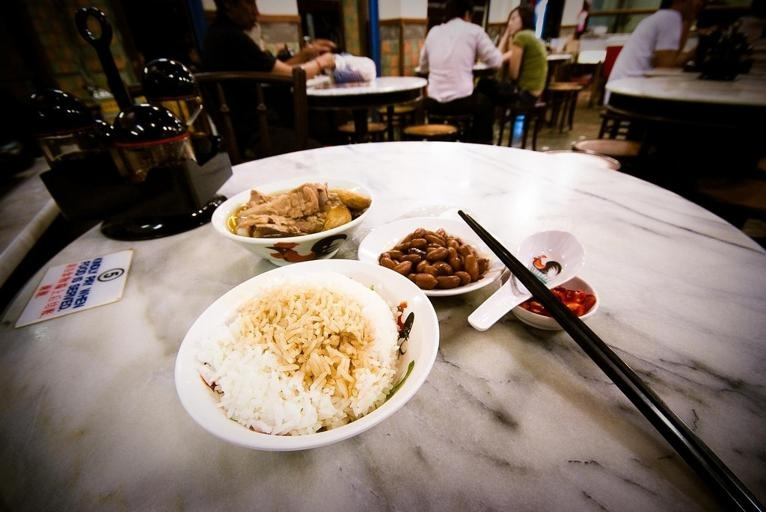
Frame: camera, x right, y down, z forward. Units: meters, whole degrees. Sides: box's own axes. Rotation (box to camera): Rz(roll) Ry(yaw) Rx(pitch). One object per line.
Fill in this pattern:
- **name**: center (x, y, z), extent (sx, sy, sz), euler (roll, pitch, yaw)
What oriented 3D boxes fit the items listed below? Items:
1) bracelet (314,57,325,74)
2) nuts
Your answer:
- **bracelet**: center (-0.675, -1.988, 5.145), extent (0.097, 0.123, 0.124), euler (-11, 31, -3)
- **nuts**: center (0.193, -0.022, 2.006), extent (0.367, 0.208, 0.469), euler (-6, 11, -37)
